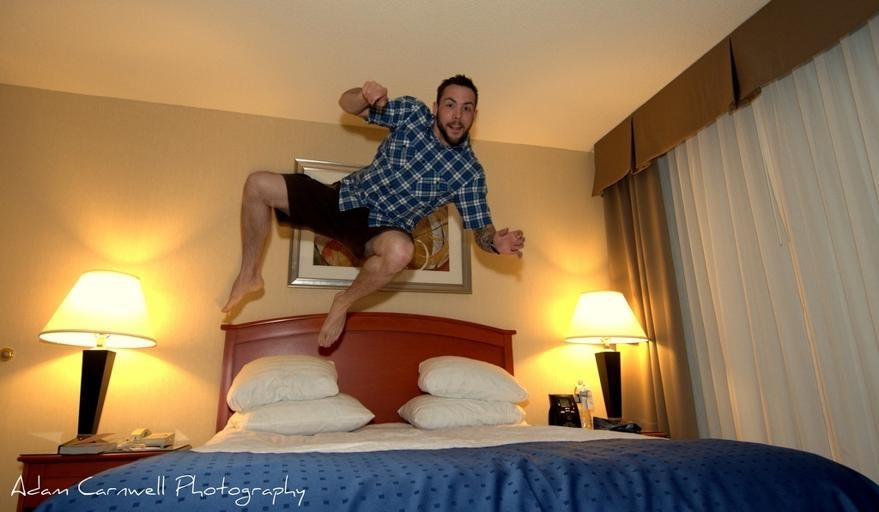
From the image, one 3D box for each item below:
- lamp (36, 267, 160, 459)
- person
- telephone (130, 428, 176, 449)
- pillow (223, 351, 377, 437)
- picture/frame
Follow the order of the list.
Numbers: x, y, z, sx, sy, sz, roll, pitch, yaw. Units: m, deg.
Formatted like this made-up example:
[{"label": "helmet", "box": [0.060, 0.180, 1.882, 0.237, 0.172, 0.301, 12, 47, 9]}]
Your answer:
[{"label": "lamp", "box": [-2.363, 0.707, 3.959, 0.704, 1.199, 0.447, 5, -15, -21]}, {"label": "person", "box": [-0.503, -0.268, 3.991, 1.662, 1.729, 0.721, -5, -14, 21]}, {"label": "telephone", "box": [-1.932, 1.211, 3.863, 0.230, 0.082, 0.159, 3, -10, -6]}, {"label": "pillow", "box": [-0.936, 0.916, 3.843, 0.879, 0.502, 0.522, 4, -13, -18]}, {"label": "picture/frame", "box": [-0.498, -0.219, 4.255, 1.342, 0.801, 0.049, 3, -18, -14]}]
